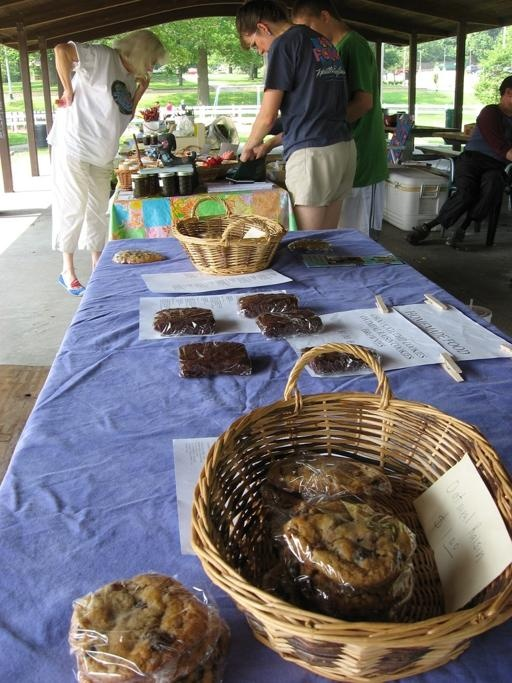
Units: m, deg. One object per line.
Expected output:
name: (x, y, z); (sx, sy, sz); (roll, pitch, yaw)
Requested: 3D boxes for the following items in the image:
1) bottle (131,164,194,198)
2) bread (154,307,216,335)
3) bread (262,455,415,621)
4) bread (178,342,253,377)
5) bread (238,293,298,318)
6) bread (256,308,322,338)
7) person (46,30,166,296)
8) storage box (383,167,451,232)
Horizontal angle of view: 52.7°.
bottle: (-0.514, -0.916, 2.884); (0.347, 0.187, 0.366); (-1, 21, 0)
bread: (-0.186, -0.057, 1.351); (0.111, 0.035, 0.084); (0, 23, -3)
bread: (0.079, 0.209, 0.562); (0.149, 0.112, 0.149); (8, 18, 19)
bread: (-0.093, 0.041, 1.145); (0.133, 0.033, 0.117); (-3, 18, -11)
bread: (0.037, -0.118, 1.431); (0.118, 0.031, 0.085); (-13, 22, -30)
bread: (0.080, -0.069, 1.394); (0.186, 0.063, 0.176); (-4, 16, -8)
person: (-1.136, -1.274, 3.551); (0.545, 1.689, 0.770); (28, 21, 38)
storage box: (1.706, -1.492, 5.424); (0.580, 0.559, 0.822); (-4, 30, -8)
